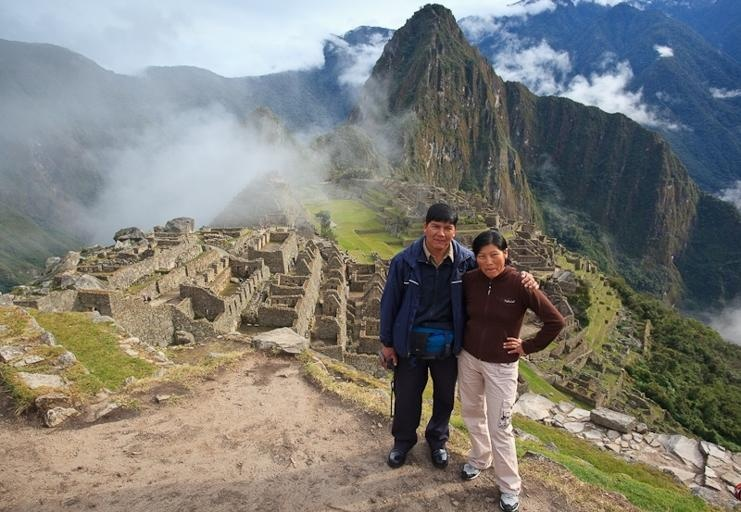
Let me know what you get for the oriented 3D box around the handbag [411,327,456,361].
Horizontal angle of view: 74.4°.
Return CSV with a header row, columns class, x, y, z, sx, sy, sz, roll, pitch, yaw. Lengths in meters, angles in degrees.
class,x,y,z,sx,sy,sz,roll,pitch,yaw
handbag,2.116,2.955,16.628,1.001,0.552,1.338,1,9,3
